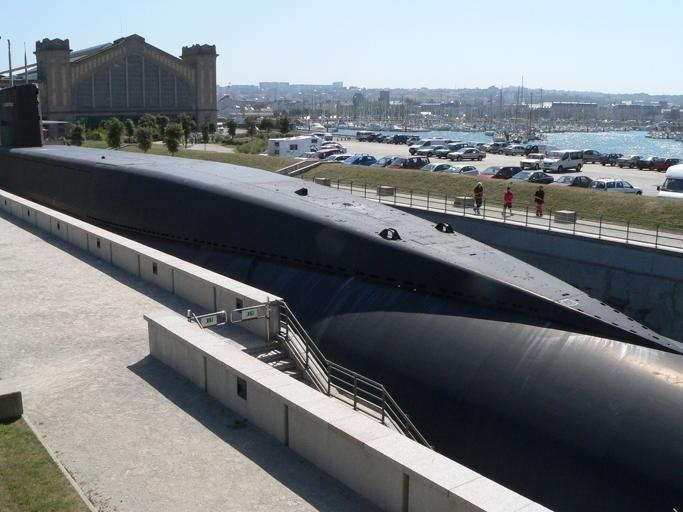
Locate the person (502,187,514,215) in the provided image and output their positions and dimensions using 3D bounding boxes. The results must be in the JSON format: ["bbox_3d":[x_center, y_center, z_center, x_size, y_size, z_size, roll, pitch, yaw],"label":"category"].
[{"bbox_3d":[7.205,-2.305,23.014,0.328,1.062,1.075,6,15,18],"label":"person"}]
